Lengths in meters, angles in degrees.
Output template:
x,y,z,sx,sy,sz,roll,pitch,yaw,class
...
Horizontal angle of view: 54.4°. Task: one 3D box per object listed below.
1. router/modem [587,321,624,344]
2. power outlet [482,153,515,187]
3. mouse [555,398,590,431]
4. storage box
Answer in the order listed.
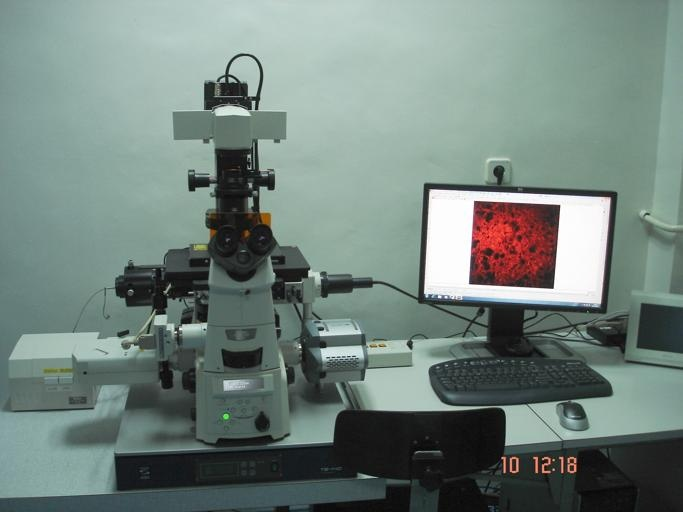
x,y,z,sx,sy,sz,roll,pitch,yaw,class
1.107,0.307,2.727,0.091,0.031,0.096,-1,16,-35,router/modem
0.664,-0.366,2.840,0.166,0.157,0.117,-1,6,-4,power outlet
0.762,0.520,2.195,0.104,0.070,0.096,1,14,16,mouse
-1.008,0.406,2.358,0.275,0.179,0.282,-1,18,-5,storage box
